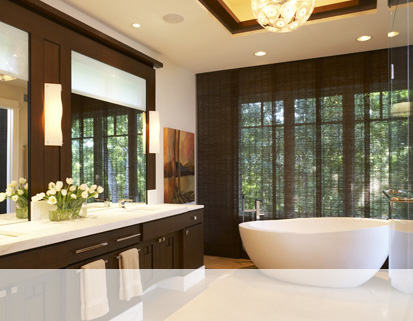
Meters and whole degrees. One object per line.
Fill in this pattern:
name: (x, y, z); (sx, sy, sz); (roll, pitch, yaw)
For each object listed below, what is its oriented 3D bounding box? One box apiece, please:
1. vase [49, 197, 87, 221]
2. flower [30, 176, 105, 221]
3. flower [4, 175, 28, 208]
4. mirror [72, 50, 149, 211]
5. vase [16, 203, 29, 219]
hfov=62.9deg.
vase: (-1.209, 0.415, 2.872); (0.120, 0.180, 0.369); (-7, -9, 30)
flower: (-1.188, 0.297, 2.851); (0.360, 0.246, 0.365); (-2, -3, 42)
flower: (-1.521, 0.258, 2.718); (0.200, 0.219, 0.196); (-3, -2, 44)
mirror: (-1.000, -0.304, 3.592); (0.082, 1.421, 1.098); (-2, 2, 29)
vase: (-1.498, 0.415, 2.748); (0.101, 0.108, 0.099); (1, -1, -5)
